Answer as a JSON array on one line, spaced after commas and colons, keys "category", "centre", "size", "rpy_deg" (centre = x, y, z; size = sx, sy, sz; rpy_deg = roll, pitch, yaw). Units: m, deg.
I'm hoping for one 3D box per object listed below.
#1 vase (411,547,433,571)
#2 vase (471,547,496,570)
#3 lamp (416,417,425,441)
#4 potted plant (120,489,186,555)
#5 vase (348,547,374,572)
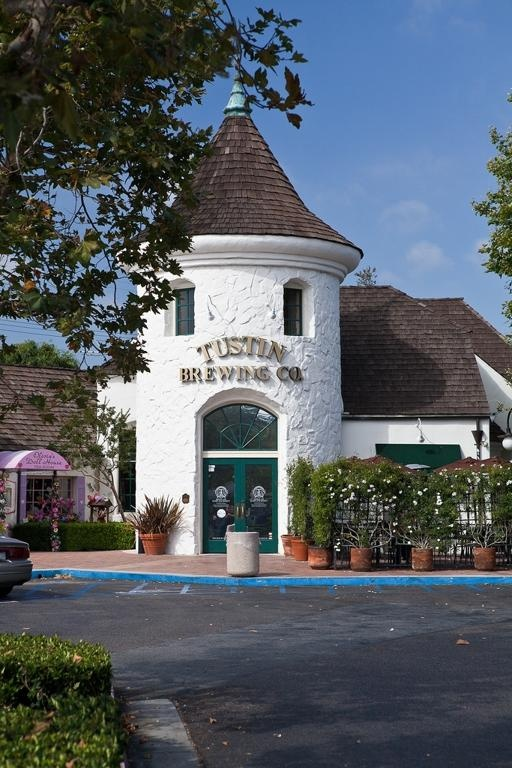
[{"category": "vase", "centre": [3.345, 3.562, 18.368], "size": [0.472, 0.461, 0.426], "rpy_deg": [2, -4, -21]}, {"category": "vase", "centre": [4.612, 3.584, 18.479], "size": [0.492, 0.480, 0.470], "rpy_deg": [2, -6, -14]}, {"category": "lamp", "centre": [4.875, 1.366, 26.743], "size": [0.241, 0.715, 0.078], "rpy_deg": [0, -7, 1]}, {"category": "potted plant", "centre": [-2.589, 3.749, 24.232], "size": [1.641, 1.606, 1.433], "rpy_deg": [1, -11, 2]}, {"category": "vase", "centre": [2.115, 3.515, 18.037], "size": [0.469, 0.403, 0.431], "rpy_deg": [1, -4, -10]}]
